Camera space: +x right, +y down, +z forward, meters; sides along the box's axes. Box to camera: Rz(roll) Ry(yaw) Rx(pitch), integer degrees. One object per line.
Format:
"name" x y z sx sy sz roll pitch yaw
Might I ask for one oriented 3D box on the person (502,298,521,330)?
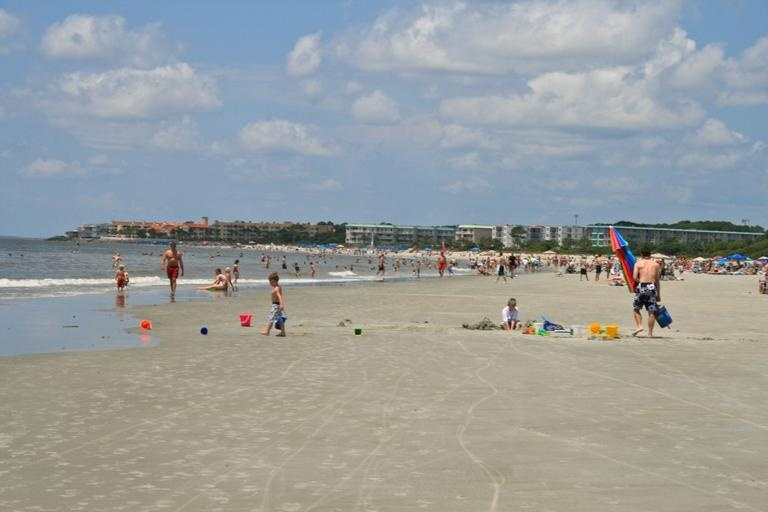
"person" 3.269 1.527 23.019 0.577 0.764 0.579 -8 14 -42

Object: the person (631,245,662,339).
"person" 6.245 0.907 21.125 0.616 2.214 0.836 3 11 15

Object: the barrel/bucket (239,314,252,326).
"barrel/bucket" -3.657 1.727 23.351 0.255 0.310 0.447 -2 10 -13
